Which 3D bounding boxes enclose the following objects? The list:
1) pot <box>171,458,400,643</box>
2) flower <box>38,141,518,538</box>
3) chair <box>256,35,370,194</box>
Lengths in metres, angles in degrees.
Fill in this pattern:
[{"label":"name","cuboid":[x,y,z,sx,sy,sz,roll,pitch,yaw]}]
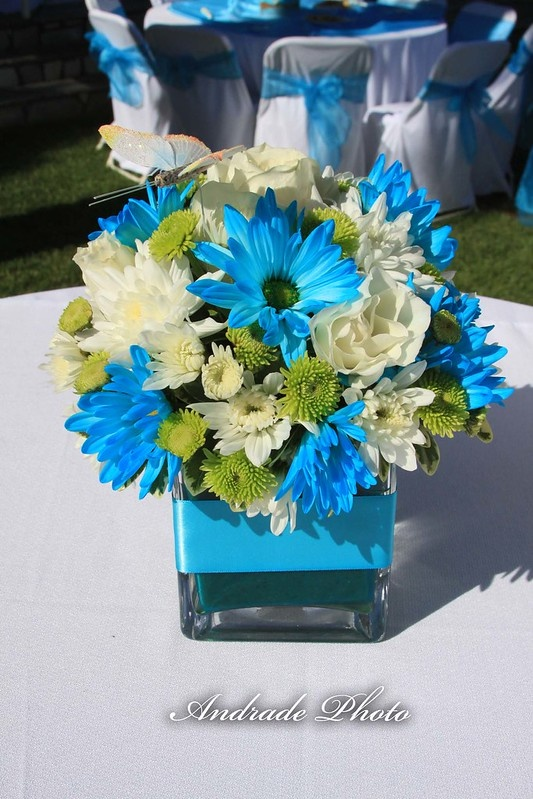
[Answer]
[{"label":"pot","cuboid":[0.018,0.156,0.781,0.263,0.237,0.185,0,7,0]},{"label":"flower","cuboid":[0.020,-0.050,0.662,0.387,0.377,0.250,1,45,3]},{"label":"chair","cuboid":[0.314,-1.592,3.572,0.587,0.838,0.560,-10,60,-2]}]
